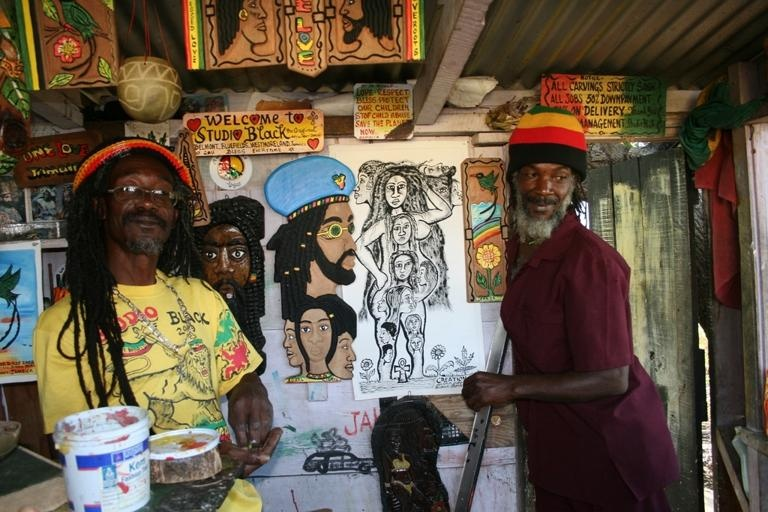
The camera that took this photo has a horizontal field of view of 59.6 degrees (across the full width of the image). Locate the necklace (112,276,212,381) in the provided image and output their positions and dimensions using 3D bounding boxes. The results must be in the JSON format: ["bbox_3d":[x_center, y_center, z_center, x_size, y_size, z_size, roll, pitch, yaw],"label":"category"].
[{"bbox_3d":[-1.365,0.412,3.999,0.416,0.671,0.161,-19,-24,-53],"label":"necklace"}]

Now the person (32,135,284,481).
[{"bbox_3d":[-1.358,0.211,4.011,1.262,1.851,0.623,-5,-3,-2],"label":"person"}]

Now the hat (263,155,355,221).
[{"bbox_3d":[-0.572,-0.509,4.921,0.594,0.437,0.188,-34,14,-5],"label":"hat"}]
